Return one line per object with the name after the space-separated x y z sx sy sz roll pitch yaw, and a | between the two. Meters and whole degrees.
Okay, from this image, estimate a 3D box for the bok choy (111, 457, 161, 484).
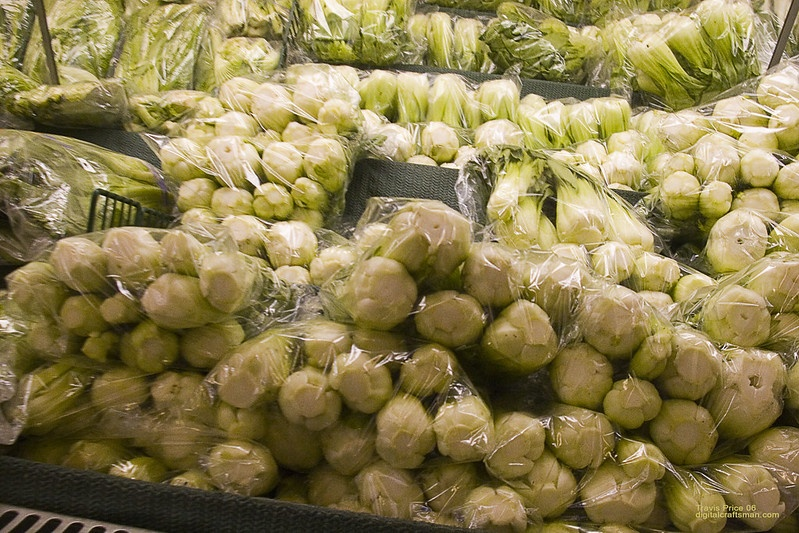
-0.850 0.664 2.101 0.113 0.065 0.084 10 15 -21 | bok choy

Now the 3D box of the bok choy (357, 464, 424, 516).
-0.038 0.716 2.052 0.188 0.061 0.141 35 82 0 | bok choy

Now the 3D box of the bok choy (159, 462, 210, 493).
-0.680 0.694 2.090 0.091 0.086 0.046 26 67 -11 | bok choy

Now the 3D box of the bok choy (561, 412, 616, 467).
0.594 0.542 2.083 0.171 0.164 0.087 15 1 -17 | bok choy

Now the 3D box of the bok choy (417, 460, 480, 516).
0.155 0.700 2.115 0.172 0.094 0.163 -41 87 -1 | bok choy

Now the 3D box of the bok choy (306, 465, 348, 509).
-0.235 0.727 2.158 0.125 0.072 0.122 -30 77 3 | bok choy

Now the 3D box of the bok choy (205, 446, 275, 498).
-0.514 0.650 2.128 0.204 0.149 0.121 23 -4 -11 | bok choy

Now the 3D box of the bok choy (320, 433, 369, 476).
-0.172 0.601 2.047 0.132 0.133 0.073 -6 3 0 | bok choy
